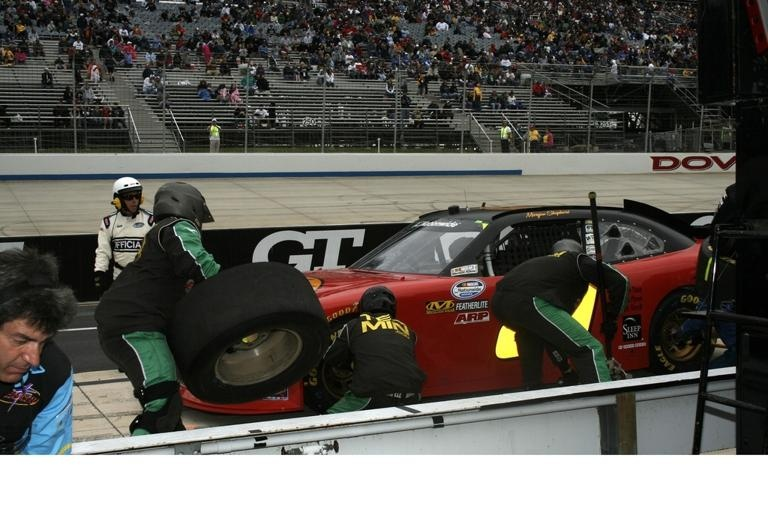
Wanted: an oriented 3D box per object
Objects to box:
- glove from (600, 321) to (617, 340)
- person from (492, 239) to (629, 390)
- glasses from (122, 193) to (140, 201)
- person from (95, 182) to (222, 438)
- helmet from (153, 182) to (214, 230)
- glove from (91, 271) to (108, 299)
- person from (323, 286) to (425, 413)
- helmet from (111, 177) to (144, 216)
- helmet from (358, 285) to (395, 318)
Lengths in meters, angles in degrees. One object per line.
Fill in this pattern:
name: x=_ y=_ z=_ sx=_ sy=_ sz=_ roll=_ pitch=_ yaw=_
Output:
glove: x=2.120 y=0.674 z=6.770 sx=0.140 sy=0.202 sz=0.071 roll=7 pitch=2 yaw=-35
person: x=1.639 y=0.605 z=6.778 sx=1.032 sy=1.681 sz=1.158 roll=6 pitch=-4 yaw=-37
glasses: x=-2.789 y=-0.660 z=7.984 sx=0.103 sy=0.104 sz=0.035 roll=-2 pitch=47 yaw=-31
person: x=-1.727 y=0.578 z=5.742 sx=1.141 sy=2.280 sz=0.950 roll=-1 pitch=2 yaw=-39
helmet: x=-1.645 y=-0.422 z=5.802 sx=0.336 sy=0.394 sz=0.470 roll=-10 pitch=1 yaw=36
glove: x=-3.392 y=0.330 z=8.578 sx=0.136 sy=0.441 sz=0.317 roll=-7 pitch=31 yaw=-25
person: x=-0.137 y=0.918 z=6.048 sx=0.793 sy=1.354 sz=0.786 roll=1 pitch=-1 yaw=-19
helmet: x=-2.864 y=-0.695 z=8.141 sx=0.448 sy=0.449 sz=0.420 roll=-6 pitch=2 yaw=-40
helmet: x=-0.062 y=0.407 z=6.197 sx=0.207 sy=0.245 sz=0.297 roll=9 pitch=7 yaw=-13
